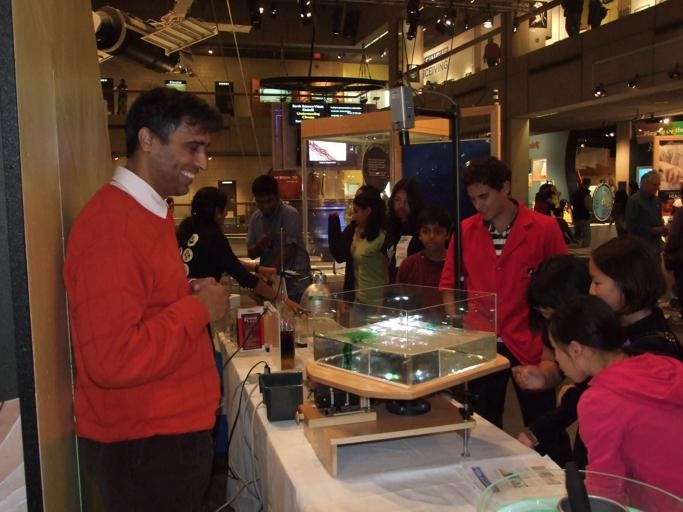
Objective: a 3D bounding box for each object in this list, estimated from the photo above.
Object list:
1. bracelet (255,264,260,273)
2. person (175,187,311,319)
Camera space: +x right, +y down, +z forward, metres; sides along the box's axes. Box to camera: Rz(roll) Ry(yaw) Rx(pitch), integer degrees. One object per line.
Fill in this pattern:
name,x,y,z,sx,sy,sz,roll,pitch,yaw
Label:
bracelet,-0.591,0.086,3.938,0.040,0.022,0.058,5,29,-7
person,-0.701,0.155,3.429,0.625,1.094,0.410,1,26,-27
